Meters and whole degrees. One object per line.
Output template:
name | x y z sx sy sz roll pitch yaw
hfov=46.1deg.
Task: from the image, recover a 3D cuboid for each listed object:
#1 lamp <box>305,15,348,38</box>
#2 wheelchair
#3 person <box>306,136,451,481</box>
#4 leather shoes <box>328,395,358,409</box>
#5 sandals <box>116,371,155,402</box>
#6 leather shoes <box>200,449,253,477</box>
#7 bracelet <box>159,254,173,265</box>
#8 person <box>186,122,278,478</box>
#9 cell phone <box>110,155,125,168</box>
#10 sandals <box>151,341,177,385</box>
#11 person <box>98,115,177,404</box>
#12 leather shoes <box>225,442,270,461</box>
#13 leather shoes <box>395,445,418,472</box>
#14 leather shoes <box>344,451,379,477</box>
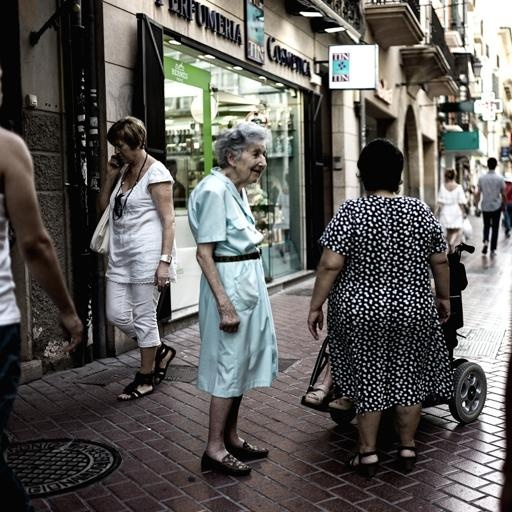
lamp | 1.417 -4.668 12.189 0.504 0.241 0.779 2 4 33
wheelchair | 1.159 0.597 4.440 1.372 1.374 1.135 -1 -8 -2
person | 0.744 0.418 3.373 0.855 1.488 0.341 -1 2 -8
leather shoes | 0.539 0.903 3.745 0.190 0.093 0.072 3 -2 3
sandals | -0.964 1.027 4.742 0.115 0.163 0.345 -2 -6 23
leather shoes | -0.165 1.125 3.291 0.283 0.134 0.116 3 5 19
bracelet | -0.698 0.031 4.583 0.078 0.059 0.079 0 -10 42
person | -0.129 0.229 3.313 0.506 1.914 0.390 -1 2 -21
cell phone | -1.131 -0.759 4.795 0.096 0.100 0.024 25 39 36
sandals | -0.836 0.883 5.160 0.158 0.116 0.424 -31 4 11
person | -0.990 0.019 4.715 0.694 2.171 0.352 1 3 28
leather shoes | -0.058 1.117 3.548 0.258 0.121 0.094 -1 3 -14
leather shoes | 0.840 1.109 3.298 0.058 0.075 0.173 0 9 5
leather shoes | 0.584 1.113 3.282 0.175 0.136 0.143 0 3 9
